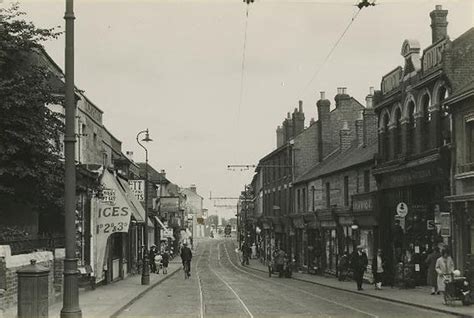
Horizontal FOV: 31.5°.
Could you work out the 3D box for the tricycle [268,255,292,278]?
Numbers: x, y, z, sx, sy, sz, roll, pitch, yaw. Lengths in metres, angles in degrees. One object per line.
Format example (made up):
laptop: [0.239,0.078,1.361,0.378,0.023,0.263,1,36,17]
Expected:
tricycle: [3.016,7.553,58.785,0.806,0.881,2.378,23,4,8]

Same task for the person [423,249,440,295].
person: [10.221,5.867,44.179,0.668,2.208,0.807,1,11,2]

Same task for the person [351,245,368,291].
person: [6.751,6.040,46.682,0.877,2.396,0.810,1,7,10]

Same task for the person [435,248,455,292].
person: [9.887,5.222,39.838,0.784,2.101,0.827,8,-32,-14]
